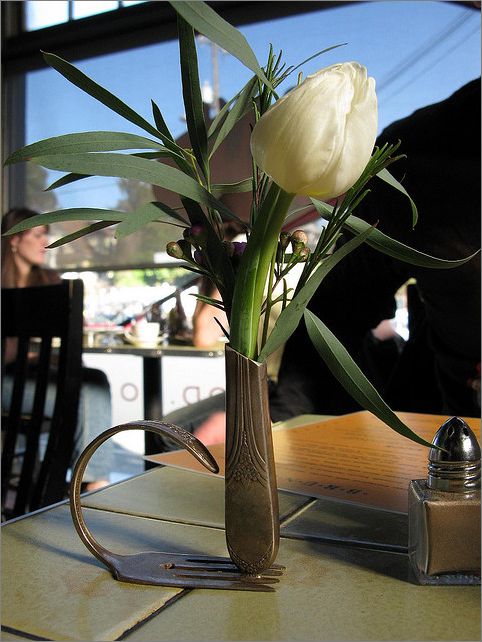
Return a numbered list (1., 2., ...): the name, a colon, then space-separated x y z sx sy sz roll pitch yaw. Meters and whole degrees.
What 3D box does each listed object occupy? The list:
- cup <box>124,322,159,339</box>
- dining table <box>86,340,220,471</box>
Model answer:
1. cup: -0.402 0.034 2.534 0.099 0.058 0.072 -2 2 7
2. dining table: -0.490 0.386 3.273 0.781 0.651 0.728 0 -3 -3
